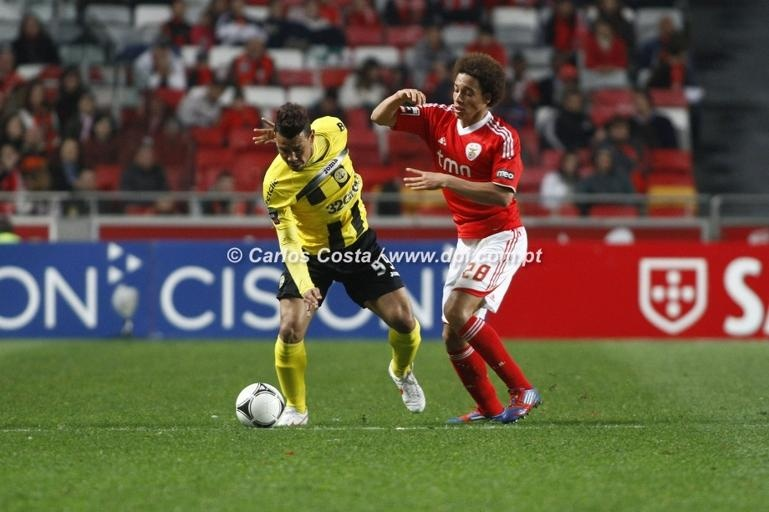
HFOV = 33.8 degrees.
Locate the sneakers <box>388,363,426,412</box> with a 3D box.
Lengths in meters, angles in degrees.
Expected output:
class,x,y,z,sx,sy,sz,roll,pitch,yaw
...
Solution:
class,x,y,z,sx,sy,sz,roll,pitch,yaw
sneakers,0.212,1.335,13.270,0.236,0.617,0.273,-33,1,-8
